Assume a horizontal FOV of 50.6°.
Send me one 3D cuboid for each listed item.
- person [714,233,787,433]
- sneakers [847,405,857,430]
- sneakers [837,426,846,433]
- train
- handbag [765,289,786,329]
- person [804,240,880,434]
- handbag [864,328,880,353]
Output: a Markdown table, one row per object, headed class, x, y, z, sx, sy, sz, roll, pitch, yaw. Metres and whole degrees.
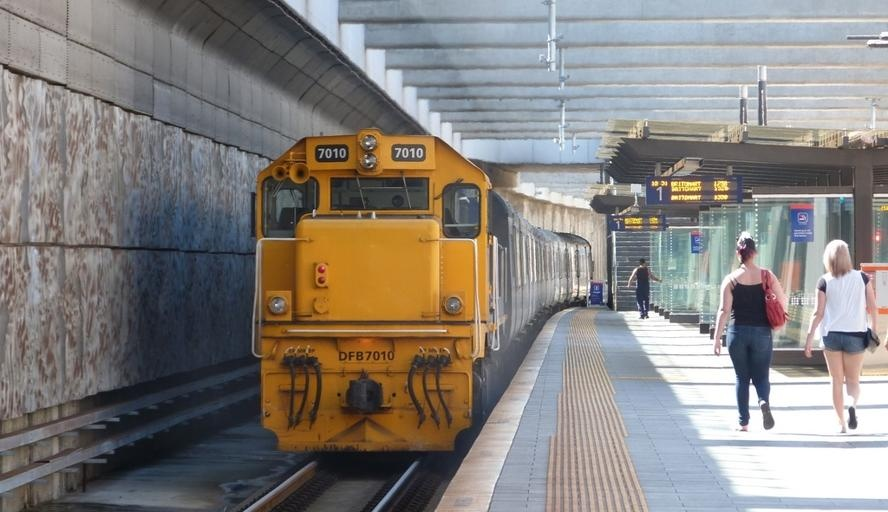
| class | x | y | z | sx | sy | sz | roll | pitch | yaw |
| --- | --- | --- | --- | --- | --- | --- | --- | --- | --- |
| person | 4.827 | 1.218 | 14.747 | 1.083 | 3.147 | 0.473 | -1 | 4 | 16 |
| sneakers | 6.471 | 2.563 | 14.875 | 0.162 | 0.344 | 0.140 | -4 | -4 | 18 |
| sneakers | 6.312 | 2.740 | 14.856 | 0.087 | 0.106 | 0.128 | -4 | -9 | 19 |
| train | -0.230 | 0.690 | 16.498 | 3.213 | 5.705 | 6.219 | 0 | 4 | 31 |
| handbag | 5.119 | 0.813 | 14.514 | 0.296 | 0.603 | 0.569 | -13 | -7 | 11 |
| person | 6.308 | 1.274 | 14.778 | 0.984 | 3.020 | 0.362 | -1 | 4 | 22 |
| handbag | 6.770 | 1.324 | 14.679 | 0.116 | 0.304 | 0.278 | -2 | -3 | -4 |
